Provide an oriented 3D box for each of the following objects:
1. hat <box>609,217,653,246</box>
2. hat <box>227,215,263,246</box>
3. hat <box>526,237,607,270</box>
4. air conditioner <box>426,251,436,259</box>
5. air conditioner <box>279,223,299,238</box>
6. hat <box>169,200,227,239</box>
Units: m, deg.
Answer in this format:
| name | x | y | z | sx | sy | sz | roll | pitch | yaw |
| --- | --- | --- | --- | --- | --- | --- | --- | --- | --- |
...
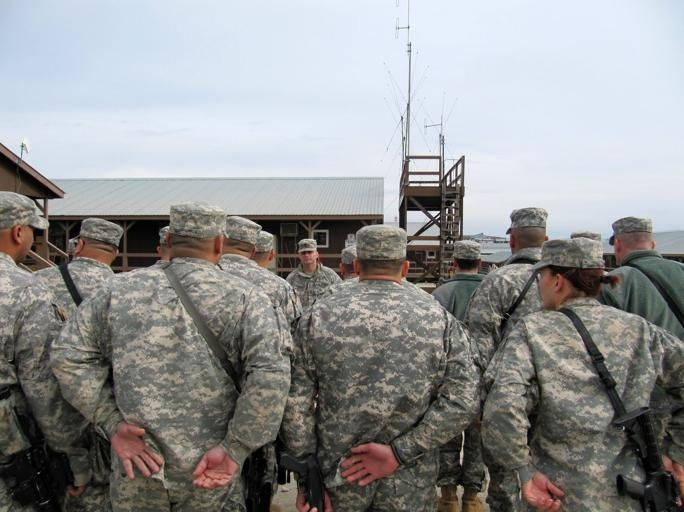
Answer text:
| name | x | y | z | sx | sy | sz | roll | pitch | yaw |
| --- | --- | --- | --- | --- | --- | --- | --- | --- | --- |
| hat | 2.186 | -0.173 | 5.805 | 0.223 | 0.136 | 0.304 | -1 | -8 | 13 |
| hat | -0.858 | -0.222 | 6.843 | 0.212 | 0.178 | 0.279 | 10 | 7 | 39 |
| hat | 1.480 | -0.003 | 5.140 | 0.350 | 0.155 | 0.253 | -1 | -1 | 24 |
| air conditioner | 2.605 | -0.010 | 22.539 | 0.322 | 0.311 | 0.175 | 0 | -6 | 3 |
| air conditioner | -1.308 | -0.643 | 19.233 | 0.499 | 0.462 | 0.290 | 0 | 0 | 0 |
| hat | -0.954 | -0.232 | 5.154 | 0.275 | 0.153 | 0.277 | 1 | 6 | -7 |
